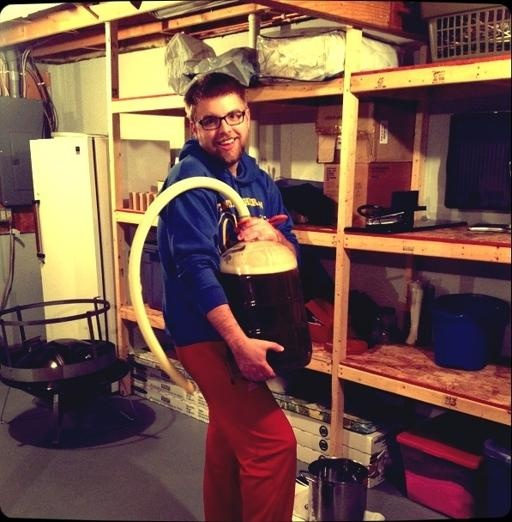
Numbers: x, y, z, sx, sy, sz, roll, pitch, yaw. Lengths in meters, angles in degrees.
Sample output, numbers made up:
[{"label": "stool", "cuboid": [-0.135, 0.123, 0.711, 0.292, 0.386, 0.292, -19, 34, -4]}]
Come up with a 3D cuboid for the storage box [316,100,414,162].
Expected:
[{"label": "storage box", "cuboid": [0.479, -0.572, 2.066, 0.337, 0.262, 0.182, 5, 11, 44]}]

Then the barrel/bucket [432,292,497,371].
[{"label": "barrel/bucket", "cuboid": [0.884, 0.283, 1.971, 0.252, 0.229, 0.305, 0, 1, 25]}]

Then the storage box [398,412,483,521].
[{"label": "storage box", "cuboid": [0.776, 0.844, 1.940, 0.295, 0.254, 0.349, 0, 2, 39]}]

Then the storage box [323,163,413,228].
[{"label": "storage box", "cuboid": [0.484, -0.280, 2.015, 0.298, 0.284, 0.160, 4, 8, 37]}]
